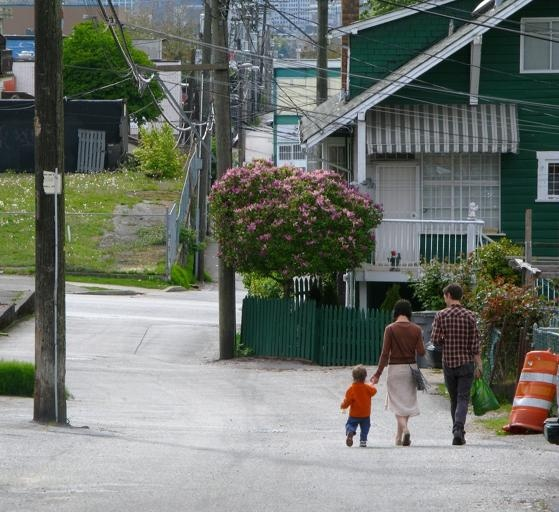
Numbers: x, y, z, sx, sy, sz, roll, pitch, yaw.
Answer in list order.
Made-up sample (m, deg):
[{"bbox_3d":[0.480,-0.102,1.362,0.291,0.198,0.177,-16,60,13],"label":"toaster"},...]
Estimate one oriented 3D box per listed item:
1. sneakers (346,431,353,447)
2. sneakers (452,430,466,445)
[{"bbox_3d":[1.117,2.930,24.034,0.091,0.235,0.207,-3,-9,6],"label":"sneakers"},{"bbox_3d":[2.798,2.887,24.089,0.213,0.263,0.325,1,6,7],"label":"sneakers"}]
